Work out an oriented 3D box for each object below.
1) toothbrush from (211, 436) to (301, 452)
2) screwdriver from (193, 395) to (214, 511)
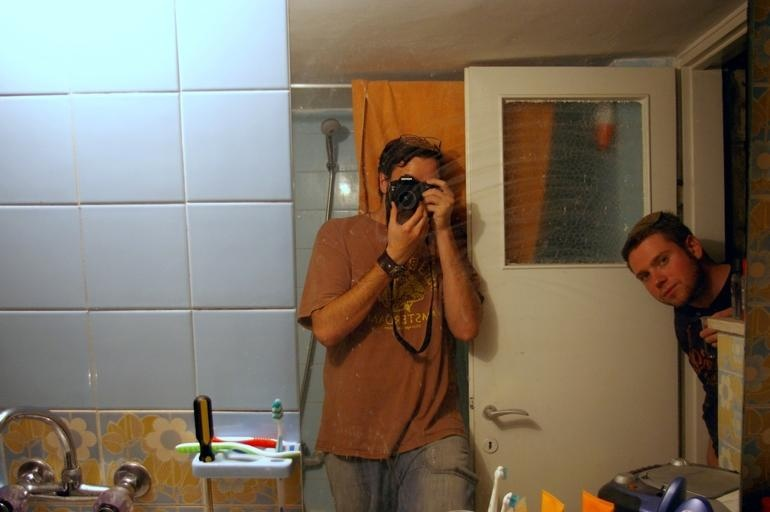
[{"bbox_3d":[-0.355,0.521,1.971,0.266,0.024,0.057,3,25,2],"label":"toothbrush"},{"bbox_3d":[-0.481,0.519,1.924,0.052,0.371,0.039,-2,11,-1],"label":"screwdriver"}]
